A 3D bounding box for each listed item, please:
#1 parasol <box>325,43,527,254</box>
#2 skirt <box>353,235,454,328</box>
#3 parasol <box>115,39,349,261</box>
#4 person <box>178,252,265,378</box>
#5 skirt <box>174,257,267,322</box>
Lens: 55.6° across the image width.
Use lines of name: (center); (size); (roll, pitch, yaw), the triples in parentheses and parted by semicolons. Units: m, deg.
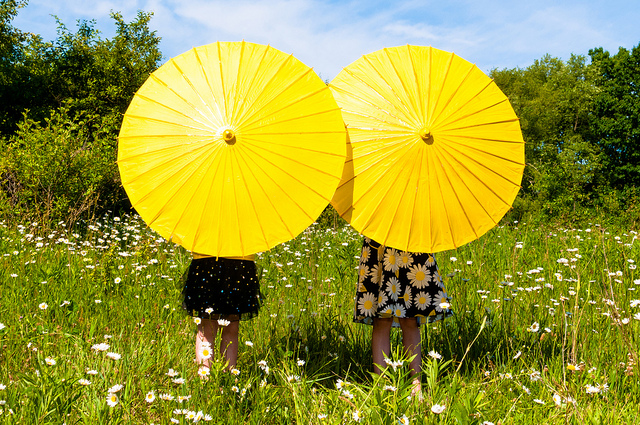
parasol: (1.177, -0.666, 7.092); (2.907, 3.180, 0.298); (3, 1, -2)
skirt: (0.877, 0.750, 7.734); (1.463, 1.643, 0.937); (-1, 3, 0)
parasol: (-0.993, -0.715, 6.834); (2.452, 2.125, 1.130); (-11, 24, 4)
person: (-1.226, 0.965, 7.367); (0.862, 2.412, 0.637); (-3, 26, -13)
skirt: (-1.176, 0.862, 7.443); (1.006, 0.744, 0.667); (3, -6, -3)
